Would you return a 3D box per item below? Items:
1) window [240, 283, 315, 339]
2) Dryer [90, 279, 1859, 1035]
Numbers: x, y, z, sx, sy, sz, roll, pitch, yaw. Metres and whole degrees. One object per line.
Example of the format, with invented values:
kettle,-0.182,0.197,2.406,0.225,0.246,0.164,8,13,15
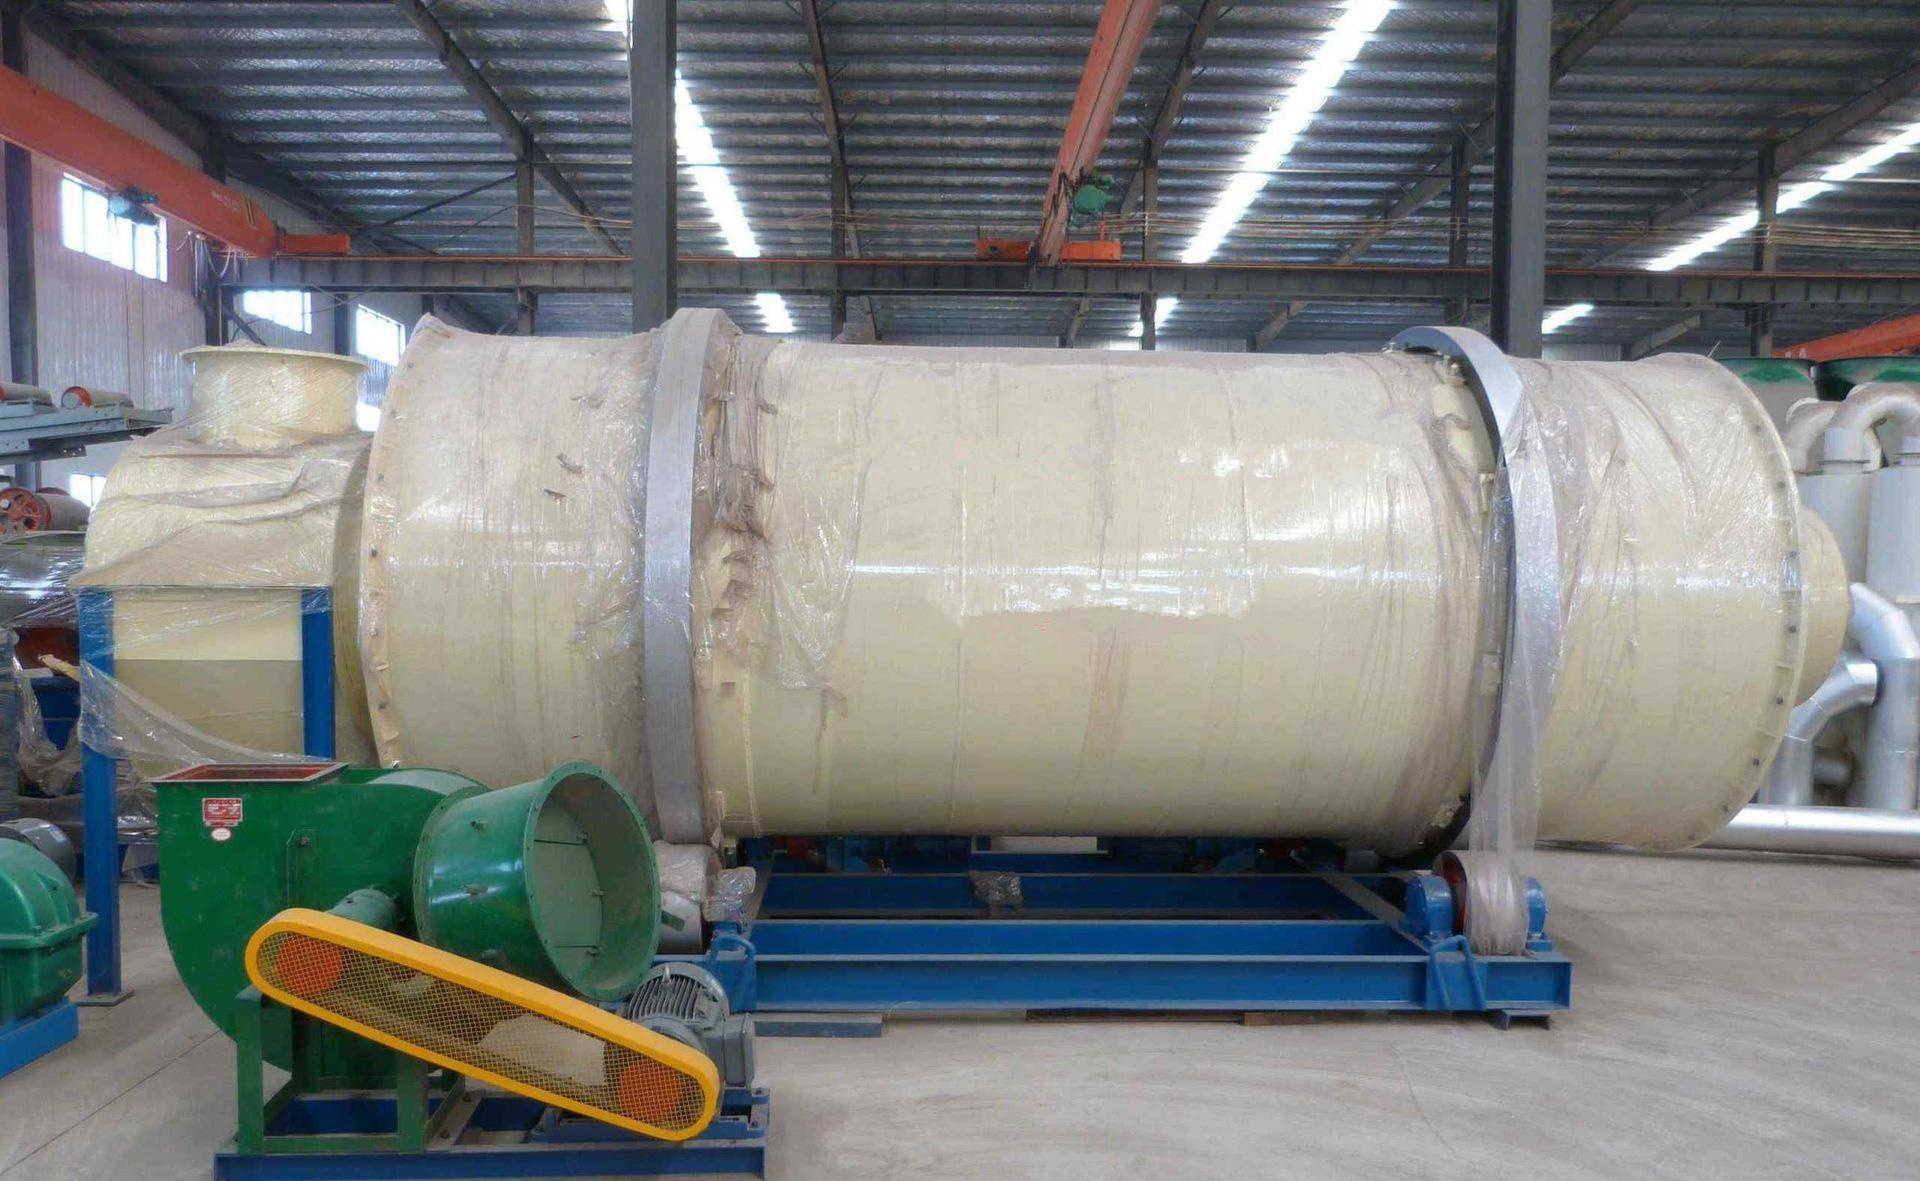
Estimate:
window,-8.410,-3.463,23.542,0.160,0.615,0.669,-1,7,27
Dryer,0.111,0.133,13.271,10.472,3.577,4.438,1,9,0
